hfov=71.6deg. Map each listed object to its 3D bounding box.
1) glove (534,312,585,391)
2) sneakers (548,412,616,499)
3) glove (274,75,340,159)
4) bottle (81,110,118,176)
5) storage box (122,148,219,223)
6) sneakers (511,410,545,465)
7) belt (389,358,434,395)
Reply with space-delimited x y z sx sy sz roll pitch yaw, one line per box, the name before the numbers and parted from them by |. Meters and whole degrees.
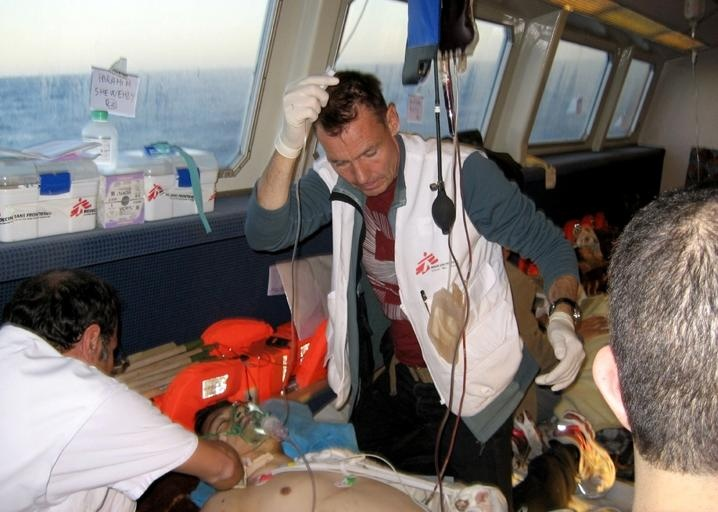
glove | 0.647 0.312 1.576 0.122 0.255 0.284 8 19 26
sneakers | 1.049 0.911 2.392 0.162 0.145 0.423 33 28 -21
glove | -0.166 -0.450 1.756 0.194 0.343 0.157 -6 2 -5
bottle | -1.013 -0.454 1.955 0.119 0.222 0.125 0 17 0
storage box | -0.847 -0.323 2.219 0.275 0.252 0.376 19 19 35
sneakers | 0.812 0.833 2.406 0.220 0.132 0.063 -25 39 -35
belt | 0.216 0.507 2.101 0.162 0.153 0.120 -39 13 13
